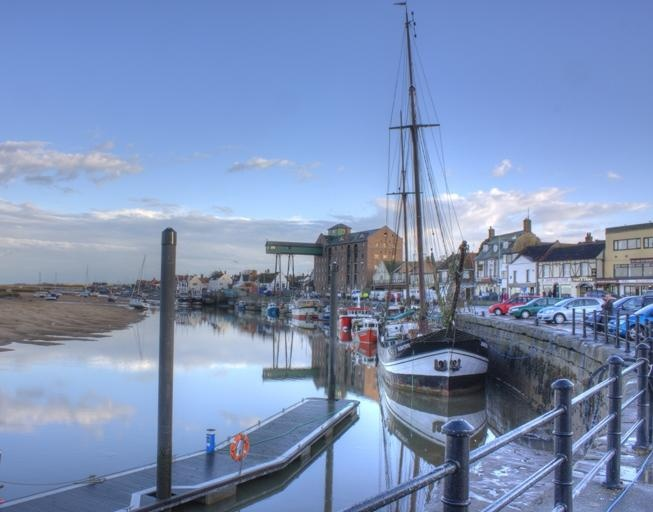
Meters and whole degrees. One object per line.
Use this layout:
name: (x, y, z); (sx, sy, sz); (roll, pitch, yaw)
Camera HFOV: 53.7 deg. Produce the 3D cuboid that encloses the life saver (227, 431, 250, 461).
life saver: (-2.481, 5.403, 18.392); (0.419, 0.955, 0.797); (0, -3, 0)
